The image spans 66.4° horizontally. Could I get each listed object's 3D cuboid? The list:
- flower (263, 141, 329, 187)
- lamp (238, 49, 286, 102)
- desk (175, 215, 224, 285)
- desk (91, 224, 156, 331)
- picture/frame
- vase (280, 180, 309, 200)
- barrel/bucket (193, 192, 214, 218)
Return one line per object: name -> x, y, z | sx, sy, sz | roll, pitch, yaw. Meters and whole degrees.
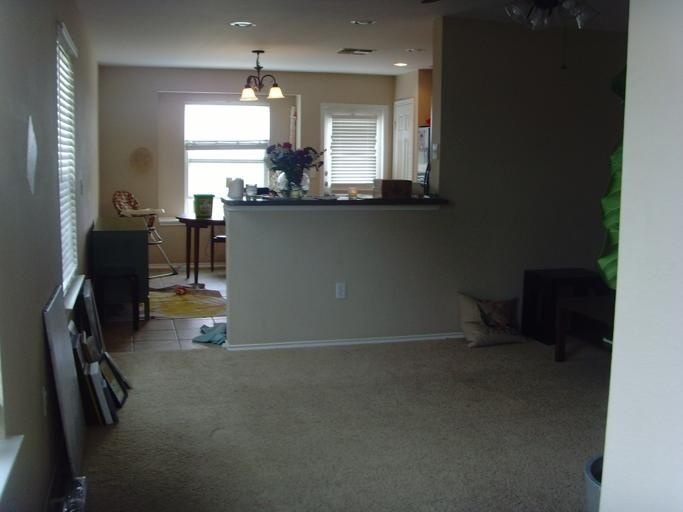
flower -> -0.420, -0.793, 4.522 | 0.472, 0.352, 0.271 | 4, 10, 17
lamp -> -0.999, -2.202, 6.272 | 0.551, 0.518, 0.370 | -15, 32, -31
desk -> -2.167, -0.184, 7.173 | 0.791, 0.649, 0.739 | 17, -1, -37
desk -> -2.301, 0.149, 5.454 | 0.576, 0.955, 1.070 | 2, 16, -18
picture/frame -> -1.521, 0.806, 3.304 | 0.188, 0.445, 0.458 | -19, 7, -12
vase -> -0.410, -0.571, 4.460 | 0.183, 0.088, 0.190 | 0, 1, -6
barrel/bucket -> -1.784, -0.648, 6.657 | 0.269, 0.329, 0.273 | 0, 1, 0
